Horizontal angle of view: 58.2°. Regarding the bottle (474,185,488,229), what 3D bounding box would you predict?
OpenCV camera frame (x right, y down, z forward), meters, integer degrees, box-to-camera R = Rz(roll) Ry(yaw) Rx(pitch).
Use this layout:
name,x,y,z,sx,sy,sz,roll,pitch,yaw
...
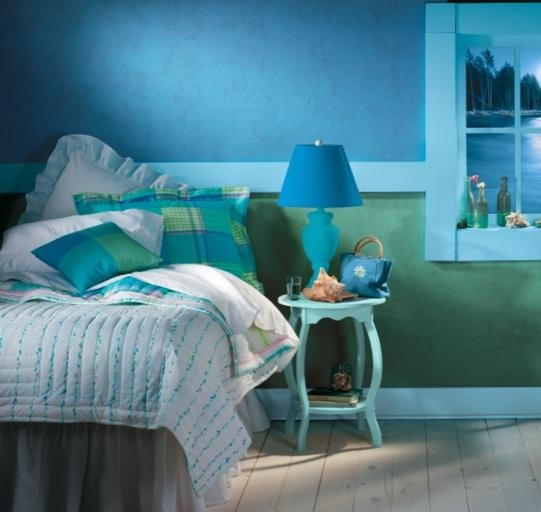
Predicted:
name,x,y,z,sx,sy,sz,roll,pitch,yaw
bottle,1.279,-0.314,2.931,0.077,0.264,0.236,3,10,24

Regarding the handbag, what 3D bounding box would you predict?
name,x,y,z,sx,sy,sz,roll,pitch,yaw
handbag,0.503,0.062,2.565,0.268,0.277,0.128,13,-3,39

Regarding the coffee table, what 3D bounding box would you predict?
name,x,y,z,sx,sy,sz,roll,pitch,yaw
coffee table,0.290,0.572,2.785,0.661,0.904,0.684,0,5,-1

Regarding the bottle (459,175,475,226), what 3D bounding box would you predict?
name,x,y,z,sx,sy,sz,roll,pitch,yaw
bottle,1.198,-0.329,2.923,0.065,0.295,0.090,-9,12,-41

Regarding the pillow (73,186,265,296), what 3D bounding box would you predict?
name,x,y,z,sx,sy,sz,roll,pitch,yaw
pillow,-0.570,-0.175,2.921,0.904,0.268,1.014,-3,-21,0

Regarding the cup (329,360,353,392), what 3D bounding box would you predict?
name,x,y,z,sx,sy,sz,roll,pitch,yaw
cup,0.381,0.642,2.657,0.153,0.213,0.114,0,-1,1

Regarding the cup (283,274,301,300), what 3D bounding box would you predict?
name,x,y,z,sx,sy,sz,roll,pitch,yaw
cup,0.125,0.161,2.535,0.092,0.152,0.102,4,3,16

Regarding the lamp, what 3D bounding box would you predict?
name,x,y,z,sx,sy,sz,roll,pitch,yaw
lamp,0.257,-0.219,2.503,0.341,0.746,0.332,-10,12,-44

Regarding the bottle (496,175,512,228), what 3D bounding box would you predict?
name,x,y,z,sx,sy,sz,roll,pitch,yaw
bottle,1.394,-0.326,2.891,0.076,0.291,0.105,3,10,26

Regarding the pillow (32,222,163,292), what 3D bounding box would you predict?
name,x,y,z,sx,sy,sz,roll,pitch,yaw
pillow,-0.802,-0.002,2.267,0.448,0.146,0.443,2,-5,15
